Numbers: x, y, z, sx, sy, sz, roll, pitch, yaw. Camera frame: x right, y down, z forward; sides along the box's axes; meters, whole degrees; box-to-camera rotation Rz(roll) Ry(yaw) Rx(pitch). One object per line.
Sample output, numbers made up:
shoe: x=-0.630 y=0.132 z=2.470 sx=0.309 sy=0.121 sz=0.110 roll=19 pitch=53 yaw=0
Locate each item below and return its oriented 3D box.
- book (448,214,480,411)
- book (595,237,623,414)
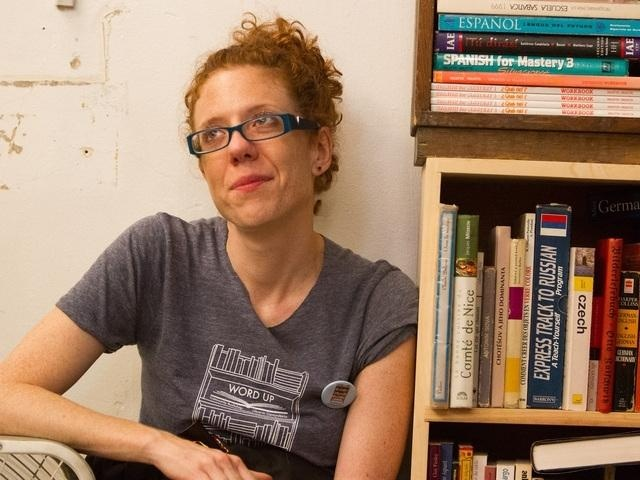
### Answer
book: x=0.331 y=0.161 z=1.497 sx=0.065 sy=0.431 sz=0.048 roll=4 pitch=-6 yaw=13
book: x=0.660 y=0.196 z=1.517 sx=0.051 sy=0.395 sz=0.045 roll=4 pitch=-6 yaw=20
